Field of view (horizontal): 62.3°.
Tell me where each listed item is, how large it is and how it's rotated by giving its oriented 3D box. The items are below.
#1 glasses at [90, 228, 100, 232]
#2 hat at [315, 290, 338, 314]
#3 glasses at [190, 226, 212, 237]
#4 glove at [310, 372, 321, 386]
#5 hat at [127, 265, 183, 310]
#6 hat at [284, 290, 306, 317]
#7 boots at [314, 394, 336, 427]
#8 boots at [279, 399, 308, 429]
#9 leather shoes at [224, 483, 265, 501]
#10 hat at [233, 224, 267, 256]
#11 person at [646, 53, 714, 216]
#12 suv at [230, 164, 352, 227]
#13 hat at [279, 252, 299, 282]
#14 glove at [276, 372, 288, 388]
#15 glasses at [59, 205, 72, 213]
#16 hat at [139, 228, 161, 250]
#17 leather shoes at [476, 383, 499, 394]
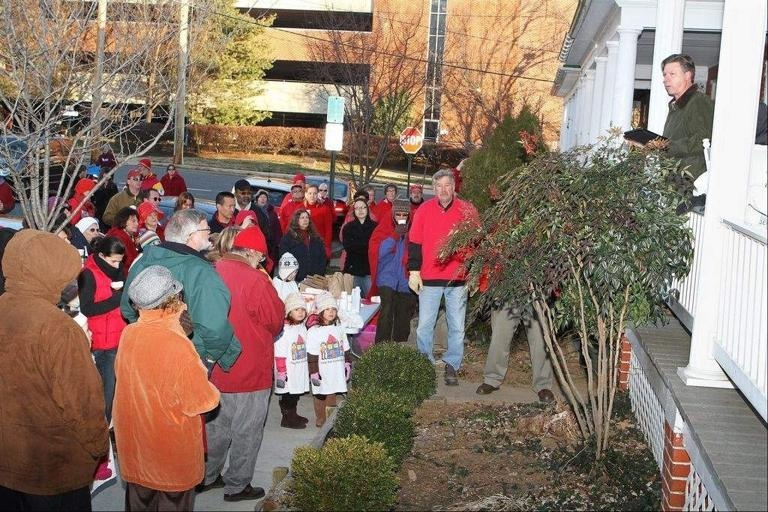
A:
[{"bbox_3d":[-4.226,-0.385,9.562,0.134,0.043,0.140,-1,-14,-45],"label":"glasses"},{"bbox_3d":[-0.660,0.590,7.858,0.191,0.241,0.246,2,-8,-31],"label":"hat"},{"bbox_3d":[-1.769,-0.237,6.331,0.128,0.042,0.137,6,-43,-33],"label":"glasses"},{"bbox_3d":[-0.785,1.524,7.808,0.121,0.186,0.057,0,-1,-6],"label":"glove"},{"bbox_3d":[-1.685,0.250,4.915,0.264,0.205,0.380,20,53,37],"label":"hat"},{"bbox_3d":[-1.024,0.566,7.589,0.235,0.269,0.199,-4,-1,24],"label":"hat"},{"bbox_3d":[-0.689,1.936,7.969,0.274,0.441,0.466,-6,8,-9],"label":"boots"},{"bbox_3d":[-1.065,1.975,7.962,0.337,0.379,0.304,1,5,-3],"label":"boots"},{"bbox_3d":[-1.333,2.329,6.342,0.389,0.223,0.150,-3,6,-18],"label":"leather shoes"},{"bbox_3d":[-1.268,-0.138,6.459,0.221,0.238,0.312,22,-1,37],"label":"hat"},{"bbox_3d":[3.235,-1.510,6.844,0.481,1.344,0.731,-1,8,25],"label":"person"},{"bbox_3d":[-2.771,-2.146,20.274,4.263,1.677,2.019,10,17,12],"label":"suv"},{"bbox_3d":[-1.246,0.157,8.595,0.226,0.379,0.292,-7,8,-20],"label":"hat"},{"bbox_3d":[-1.185,1.530,7.691,0.129,0.183,0.057,-5,7,-5],"label":"glove"},{"bbox_3d":[-5.185,-0.787,10.634,0.168,0.096,0.234,10,-16,-36],"label":"glasses"},{"bbox_3d":[-2.984,-0.221,8.331,0.261,0.292,0.208,-19,-24,36],"label":"hat"},{"bbox_3d":[1.448,1.862,8.877,0.299,0.143,0.121,4,1,-32],"label":"leather shoes"}]
